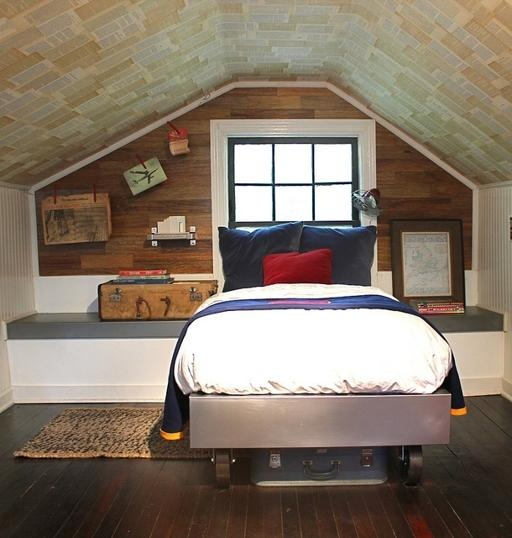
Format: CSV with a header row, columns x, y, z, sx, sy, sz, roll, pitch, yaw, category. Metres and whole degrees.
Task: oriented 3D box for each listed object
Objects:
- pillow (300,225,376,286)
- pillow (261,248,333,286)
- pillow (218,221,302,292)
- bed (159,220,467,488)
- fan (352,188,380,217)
x,y,z,sx,sy,sz,roll,pitch,yaw,category
0.604,-0.114,3.586,0.564,0.409,0.202,2,24,35,pillow
0.268,-0.006,3.214,0.356,0.096,0.305,-1,31,9,pillow
0.050,-0.081,3.604,0.639,0.483,0.217,-5,3,0,pillow
0.238,0.283,2.874,1.428,0.957,1.824,-2,9,0,bed
0.816,-0.496,3.679,0.243,0.205,0.079,4,7,35,fan
